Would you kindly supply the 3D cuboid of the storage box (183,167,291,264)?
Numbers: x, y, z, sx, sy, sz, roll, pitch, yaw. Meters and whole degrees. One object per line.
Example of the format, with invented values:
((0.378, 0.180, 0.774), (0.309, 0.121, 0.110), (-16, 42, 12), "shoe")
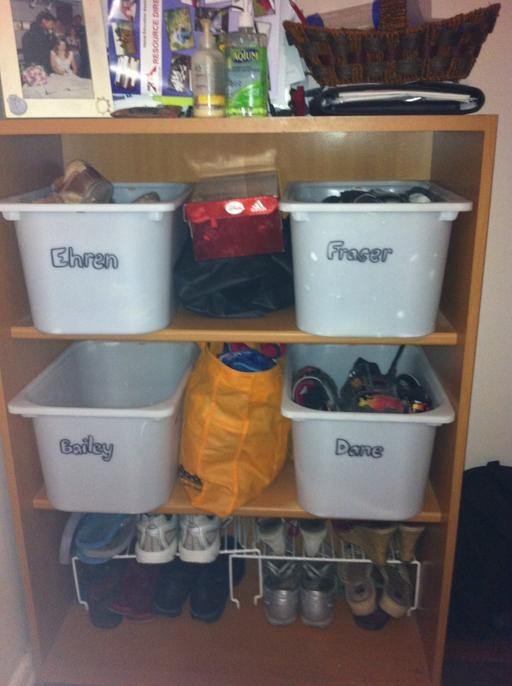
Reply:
((-0.024, -0.231, 1.152), (0.192, 0.121, 0.248), (-5, 35, 2), "storage box")

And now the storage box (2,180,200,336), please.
((-0.273, -0.163, 1.005), (0.254, 0.186, 0.303), (-1, 15, -2), "storage box")

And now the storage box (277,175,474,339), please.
((0.176, -0.167, 1.063), (0.347, 0.215, 0.273), (0, 22, 1), "storage box")

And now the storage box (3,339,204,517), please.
((-0.308, 0.190, 1.324), (0.359, 0.244, 0.416), (1, 19, 1), "storage box")

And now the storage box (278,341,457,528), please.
((0.227, 0.158, 1.278), (0.336, 0.244, 0.413), (1, 18, 2), "storage box")

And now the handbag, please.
((-0.044, 0.179, 1.175), (0.217, 0.349, 0.315), (8, 17, 18), "handbag")

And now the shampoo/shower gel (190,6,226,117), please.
((-0.084, -0.487, 1.005), (0.080, 0.157, 0.077), (-8, 20, -21), "shampoo/shower gel")
